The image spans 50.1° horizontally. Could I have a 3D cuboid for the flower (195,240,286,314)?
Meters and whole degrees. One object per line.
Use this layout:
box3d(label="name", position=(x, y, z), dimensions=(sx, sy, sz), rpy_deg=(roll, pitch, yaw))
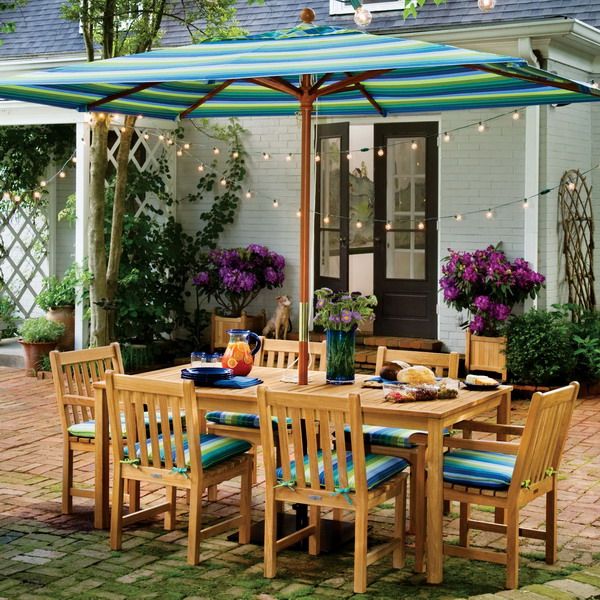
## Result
box3d(label="flower", position=(-0.837, -0.218, 8.636), dimensions=(1.056, 0.855, 1.099), rpy_deg=(10, 19, 18))

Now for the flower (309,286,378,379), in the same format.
box3d(label="flower", position=(0.224, 0.206, 3.247), dimensions=(0.379, 0.381, 0.321), rpy_deg=(1, -5, 14))

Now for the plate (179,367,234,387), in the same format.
box3d(label="plate", position=(-0.484, 0.395, 3.337), dimensions=(0.258, 0.078, 0.304), rpy_deg=(0, 1, -10))

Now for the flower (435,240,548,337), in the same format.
box3d(label="flower", position=(2.084, -0.125, 7.229), dimensions=(1.124, 0.934, 1.085), rpy_deg=(-3, 4, -41))

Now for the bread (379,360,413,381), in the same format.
box3d(label="bread", position=(0.483, 0.370, 3.346), dimensions=(0.105, 0.060, 0.120), rpy_deg=(-3, -1, -8))
